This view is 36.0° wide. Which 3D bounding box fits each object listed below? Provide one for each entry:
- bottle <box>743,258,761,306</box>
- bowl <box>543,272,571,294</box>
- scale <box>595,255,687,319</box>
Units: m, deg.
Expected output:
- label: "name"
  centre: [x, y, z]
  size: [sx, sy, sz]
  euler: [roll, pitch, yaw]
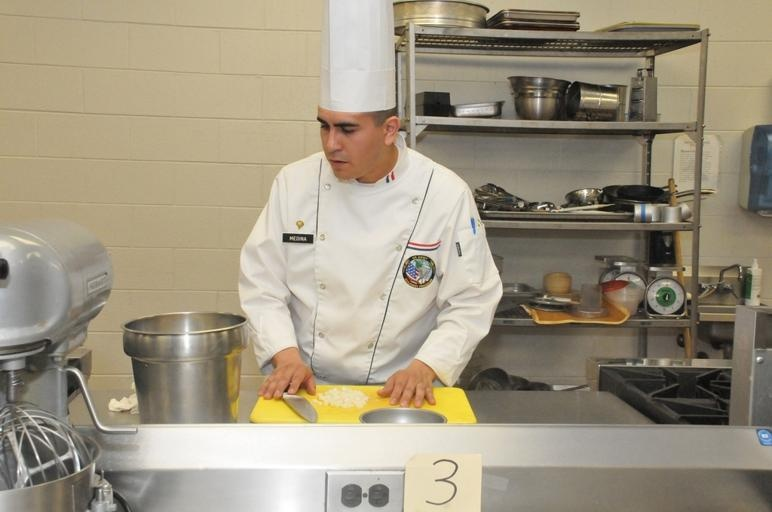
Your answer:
- label: "bottle"
  centre: [2.029, 0.145, 6.586]
  size: [0.092, 0.266, 0.334]
  euler: [1, 9, 17]
- label: "bowl"
  centre: [0.940, 0.142, 6.540]
  size: [0.124, 0.101, 0.122]
  euler: [3, 2, 0]
- label: "scale"
  centre: [1.407, 0.171, 6.510]
  size: [0.446, 0.328, 0.303]
  euler: [3, 11, 3]
